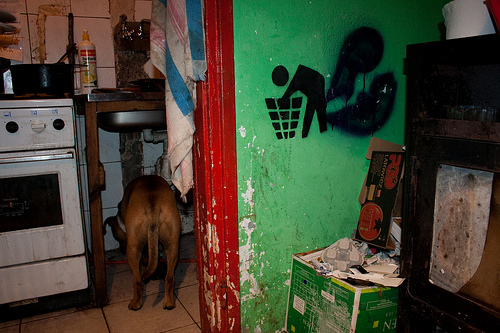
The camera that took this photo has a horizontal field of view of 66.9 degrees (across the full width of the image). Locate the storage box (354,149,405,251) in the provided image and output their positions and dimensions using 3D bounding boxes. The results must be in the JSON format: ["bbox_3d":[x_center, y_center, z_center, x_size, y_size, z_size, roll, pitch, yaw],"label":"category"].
[{"bbox_3d":[0.738,0.179,2.178,0.220,0.528,0.186,7,9,39],"label":"storage box"}]

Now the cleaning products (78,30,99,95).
[{"bbox_3d":[-1.288,-0.829,2.994,0.132,0.486,0.118,-2,8,-22],"label":"cleaning products"}]

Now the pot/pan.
[{"bbox_3d":[-1.361,-0.582,2.489,0.243,0.115,0.307,2,5,14],"label":"pot/pan"}]

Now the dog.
[{"bbox_3d":[-0.747,0.515,2.794,0.395,0.897,0.640,-2,8,-19],"label":"dog"}]
